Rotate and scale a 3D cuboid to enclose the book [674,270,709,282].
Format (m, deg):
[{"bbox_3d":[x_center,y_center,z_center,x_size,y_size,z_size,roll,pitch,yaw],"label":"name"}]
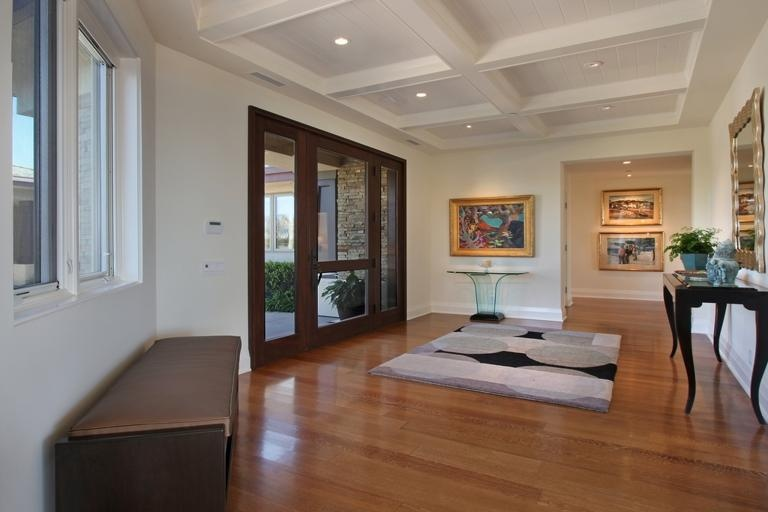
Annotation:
[{"bbox_3d":[3.152,0.216,4.971,0.265,0.065,0.286,0,1,-1],"label":"book"}]

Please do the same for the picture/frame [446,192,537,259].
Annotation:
[{"bbox_3d":[1.873,-0.509,8.159,1.138,0.801,0.054,1,2,28],"label":"picture/frame"}]

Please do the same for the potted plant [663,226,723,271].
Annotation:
[{"bbox_3d":[3.637,-0.095,5.740,0.621,0.560,0.633,-3,-8,38],"label":"potted plant"}]

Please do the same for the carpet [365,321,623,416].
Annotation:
[{"bbox_3d":[1.443,1.142,5.593,2.254,0.164,2.591,3,9,27],"label":"carpet"}]

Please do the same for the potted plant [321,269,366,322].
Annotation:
[{"bbox_3d":[-0.559,0.539,6.511,0.604,0.421,0.594,0,0,-14],"label":"potted plant"}]

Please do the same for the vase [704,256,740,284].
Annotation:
[{"bbox_3d":[2.945,0.132,4.223,0.240,0.245,0.266,-1,-4,37],"label":"vase"}]

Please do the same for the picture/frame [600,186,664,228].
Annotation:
[{"bbox_3d":[5.285,-1.033,10.234,0.902,0.663,0.039,2,1,33],"label":"picture/frame"}]

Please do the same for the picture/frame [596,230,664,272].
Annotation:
[{"bbox_3d":[5.272,-0.098,10.267,0.895,0.642,0.035,0,-3,32],"label":"picture/frame"}]
